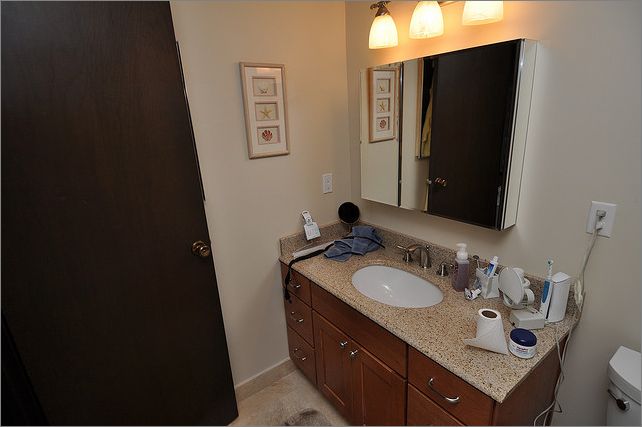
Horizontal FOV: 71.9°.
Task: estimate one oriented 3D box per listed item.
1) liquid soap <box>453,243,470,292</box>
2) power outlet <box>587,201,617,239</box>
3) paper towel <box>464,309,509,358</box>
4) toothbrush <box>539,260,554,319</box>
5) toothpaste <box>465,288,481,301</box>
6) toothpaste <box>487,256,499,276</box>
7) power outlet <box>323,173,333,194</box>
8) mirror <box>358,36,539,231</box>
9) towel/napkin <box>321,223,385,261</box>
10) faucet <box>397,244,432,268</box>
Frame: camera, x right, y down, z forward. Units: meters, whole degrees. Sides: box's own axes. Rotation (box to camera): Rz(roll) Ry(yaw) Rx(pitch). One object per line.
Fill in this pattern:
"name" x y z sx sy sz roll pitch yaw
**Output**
"liquid soap" 0.780 0.300 2.444 0.093 0.251 0.100 11 23 33
"power outlet" 1.355 0.026 2.126 0.125 0.226 0.021 15 23 36
"paper towel" 0.796 0.561 2.117 0.206 0.167 0.145 5 20 17
"toothbrush" 1.126 0.373 2.186 0.042 0.288 0.114 9 22 28
"toothpaste" 0.821 0.429 2.401 0.073 0.024 0.055 -30 42 -4
"toothpaste" 0.921 0.283 2.371 0.051 0.104 0.053 1 19 6
"power outlet" 0.047 -0.204 3.059 0.092 0.136 0.022 -17 24 -38
"mirror" 0.732 -0.458 2.448 1.004 0.934 0.209 12 20 44
"towel/napkin" 0.217 0.192 2.902 0.401 0.151 0.187 -13 22 -29
"faucet" 0.597 0.221 2.729 0.233 0.156 0.097 15 37 36
